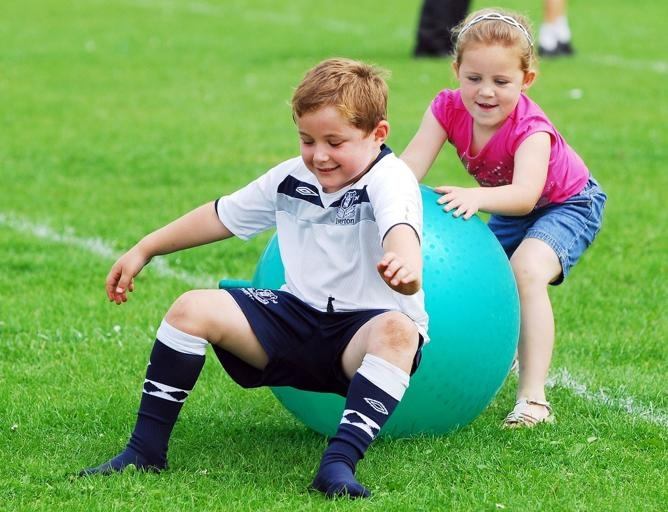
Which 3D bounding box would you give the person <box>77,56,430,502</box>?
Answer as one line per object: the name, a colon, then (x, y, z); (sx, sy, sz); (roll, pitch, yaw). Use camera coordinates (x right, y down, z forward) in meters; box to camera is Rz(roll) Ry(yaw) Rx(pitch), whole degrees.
person: (-0.164, 0.086, 3.070); (1.360, 1.656, 1.005); (4, -4, 23)
